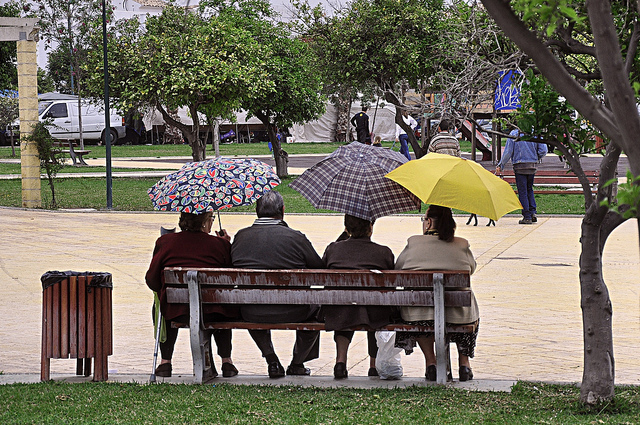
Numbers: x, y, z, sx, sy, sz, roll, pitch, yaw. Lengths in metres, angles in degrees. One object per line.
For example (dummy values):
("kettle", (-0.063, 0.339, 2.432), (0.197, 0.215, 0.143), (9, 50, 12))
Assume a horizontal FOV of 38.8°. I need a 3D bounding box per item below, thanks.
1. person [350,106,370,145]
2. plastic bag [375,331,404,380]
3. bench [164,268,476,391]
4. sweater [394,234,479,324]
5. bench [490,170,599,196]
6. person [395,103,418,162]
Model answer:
("person", (1.523, -3.385, 34.529), (0.594, 1.012, 1.738), (-1, 0, 2))
("plastic bag", (0.714, 1.525, 9.643), (0.293, 0.473, 0.326), (0, -1, 1))
("bench", (0.035, 1.174, 9.701), (3.145, 1.066, 1.007), (0, -5, 12))
("sweater", (1.221, 0.730, 9.737), (0.955, 0.977, 0.695), (-1, 1, -1))
("bench", (6.208, -0.886, 26.576), (0.722, 0.844, 3.755), (20, -3, -27))
("person", (3.260, -3.006, 34.505), (0.851, 2.063, 0.741), (-7, 28, -9))
